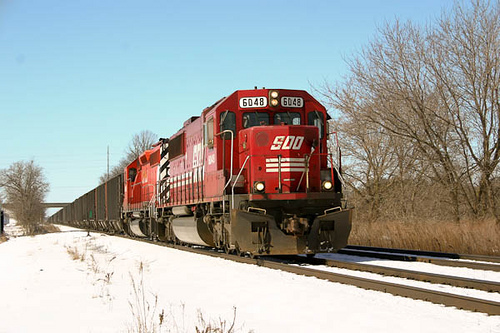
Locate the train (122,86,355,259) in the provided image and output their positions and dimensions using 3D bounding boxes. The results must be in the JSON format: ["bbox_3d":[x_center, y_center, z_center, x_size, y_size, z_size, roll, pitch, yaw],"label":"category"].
[{"bbox_3d":[-1.998,0.916,18.397,4.321,5.762,15.028,4,-9,-28],"label":"train"}]
